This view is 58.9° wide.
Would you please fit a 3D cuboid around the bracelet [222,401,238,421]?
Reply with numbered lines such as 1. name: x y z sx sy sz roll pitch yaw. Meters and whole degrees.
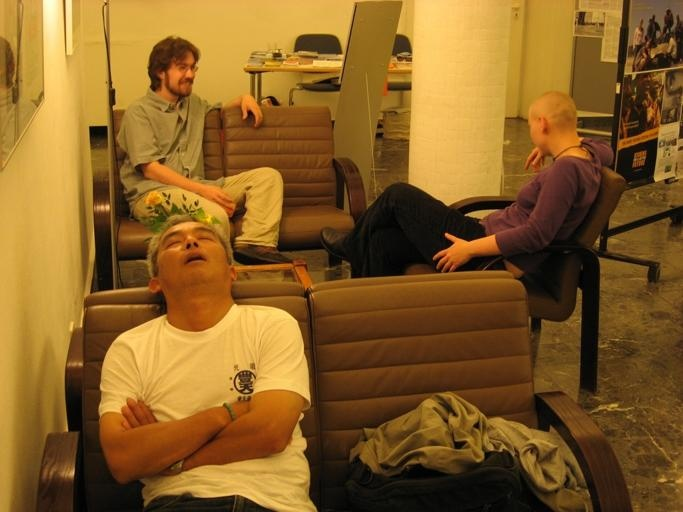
1. bracelet: -0.310 0.437 1.694 0.014 0.040 0.039 -21 22 -20

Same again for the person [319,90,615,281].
1. person: 0.553 -0.294 3.281 1.520 1.085 0.858 3 15 21

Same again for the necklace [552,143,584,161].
1. necklace: 1.092 -0.498 2.889 0.103 0.032 0.102 -11 11 31

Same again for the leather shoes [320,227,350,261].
1. leather shoes: -0.045 -0.057 3.534 0.100 0.129 0.266 1 31 -21
